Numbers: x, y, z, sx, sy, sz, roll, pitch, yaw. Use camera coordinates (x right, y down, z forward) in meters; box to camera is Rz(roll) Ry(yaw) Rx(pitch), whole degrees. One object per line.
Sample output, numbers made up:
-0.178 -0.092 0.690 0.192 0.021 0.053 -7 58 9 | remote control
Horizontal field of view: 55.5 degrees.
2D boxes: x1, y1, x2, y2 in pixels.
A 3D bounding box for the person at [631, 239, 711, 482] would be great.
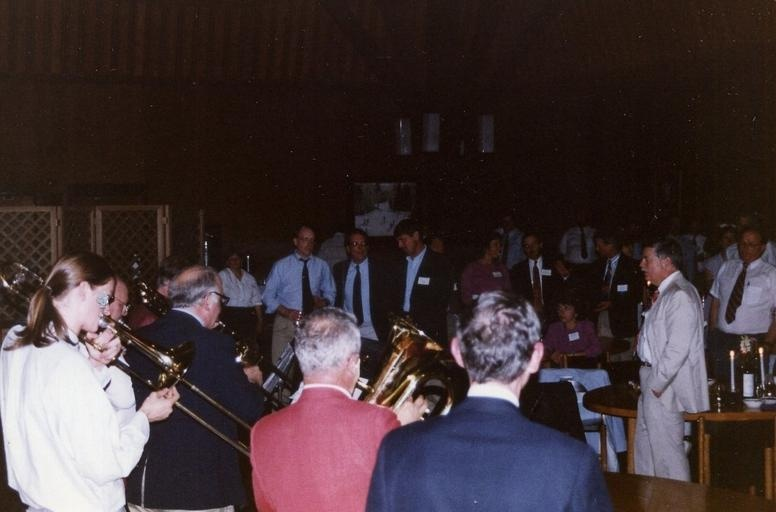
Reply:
2.274 0.829 5.940 0.580 1.930 0.360 -1 -2 18 | person
